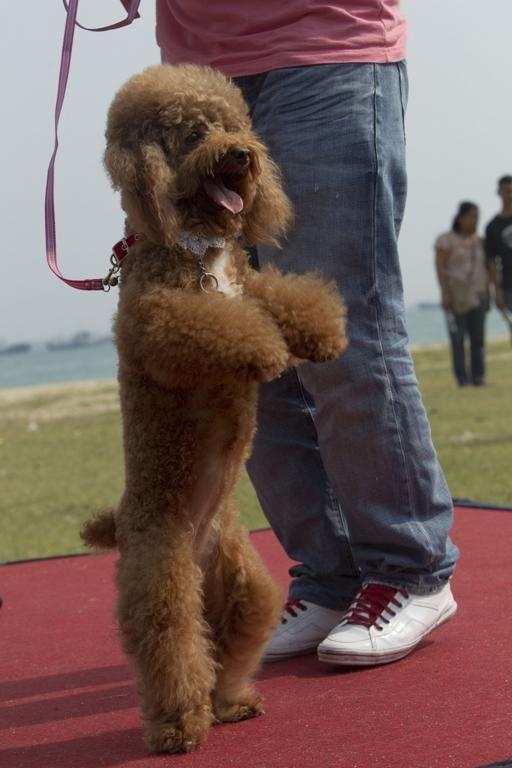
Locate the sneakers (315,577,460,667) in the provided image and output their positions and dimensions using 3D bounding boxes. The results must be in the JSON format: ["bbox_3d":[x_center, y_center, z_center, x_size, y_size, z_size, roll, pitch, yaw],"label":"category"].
[{"bbox_3d":[0.352,0.599,2.271,0.170,0.167,0.487,-8,-1,43],"label":"sneakers"}]

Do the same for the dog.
[{"bbox_3d":[-0.089,0.026,1.855,0.550,1.451,0.406,-8,6,-23],"label":"dog"}]

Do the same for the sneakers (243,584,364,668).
[{"bbox_3d":[0.130,0.654,2.367,0.326,0.119,0.108,-2,10,-41],"label":"sneakers"}]
